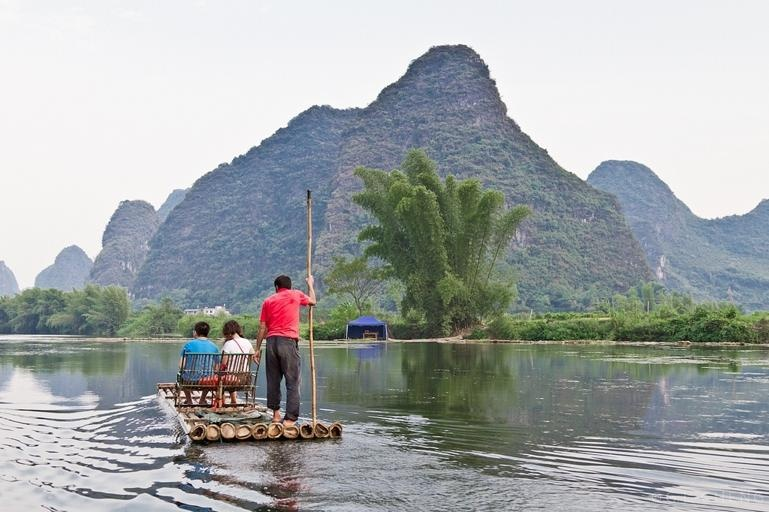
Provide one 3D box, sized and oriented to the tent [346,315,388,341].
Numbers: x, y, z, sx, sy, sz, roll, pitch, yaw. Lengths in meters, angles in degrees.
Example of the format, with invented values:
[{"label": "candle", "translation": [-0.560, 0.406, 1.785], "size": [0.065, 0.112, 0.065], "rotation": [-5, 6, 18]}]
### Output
[{"label": "tent", "translation": [-1.274, 5.650, 60.202], "size": [2.300, 1.506, 2.308], "rotation": [-1, -12, 4]}]
